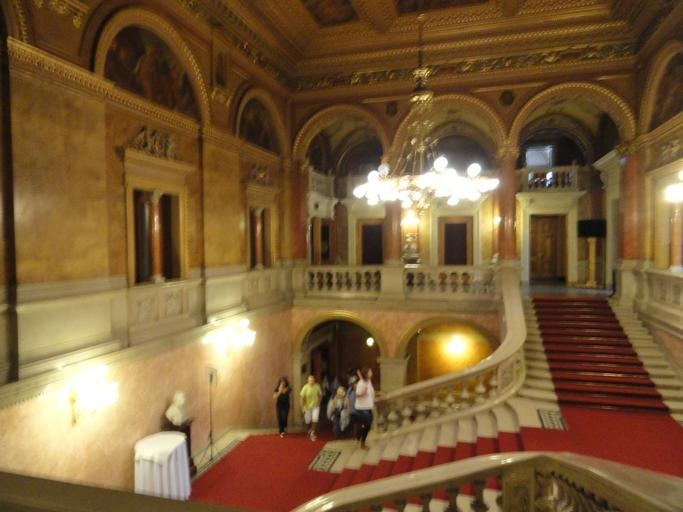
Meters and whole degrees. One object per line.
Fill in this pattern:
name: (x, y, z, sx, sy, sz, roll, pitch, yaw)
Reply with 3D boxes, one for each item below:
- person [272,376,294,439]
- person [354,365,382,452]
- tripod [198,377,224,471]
person: (-1.326, 3.331, 11.444, 0.313, 1.494, 1.165, 0, 0, -6)
person: (0.411, 2.746, 9.355, 0.387, 1.489, 0.587, 0, 1, 1)
tripod: (-2.633, 3.073, 10.266, 0.297, 1.724, 0.762, 0, 1, -14)
